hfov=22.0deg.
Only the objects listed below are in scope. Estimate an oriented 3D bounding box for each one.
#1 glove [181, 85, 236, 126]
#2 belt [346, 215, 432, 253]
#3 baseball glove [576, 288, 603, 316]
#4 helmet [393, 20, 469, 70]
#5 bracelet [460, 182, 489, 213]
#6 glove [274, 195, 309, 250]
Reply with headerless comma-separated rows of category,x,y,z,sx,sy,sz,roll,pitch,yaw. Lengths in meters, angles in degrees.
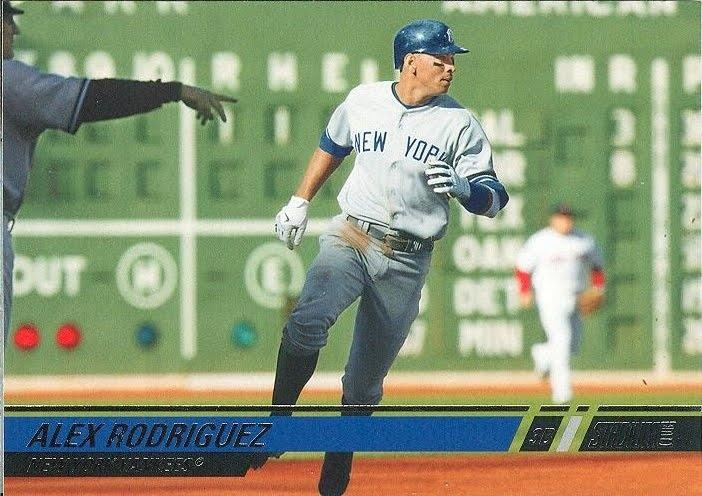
glove,-0.733,-0.726,9.252,0.180,0.117,0.059,11,8,8
belt,0.201,-0.053,9.268,0.270,0.064,0.226,21,2,6
baseball glove,1.218,0.290,9.296,0.105,0.143,0.056,39,-2,12
helmet,0.370,-1.037,9.222,0.285,0.146,0.205,0,11,13
bracelet,0.646,-0.247,9.243,0.105,0.134,0.149,19,7,32
glove,-0.305,-0.129,9.259,0.207,0.242,0.101,37,18,21
